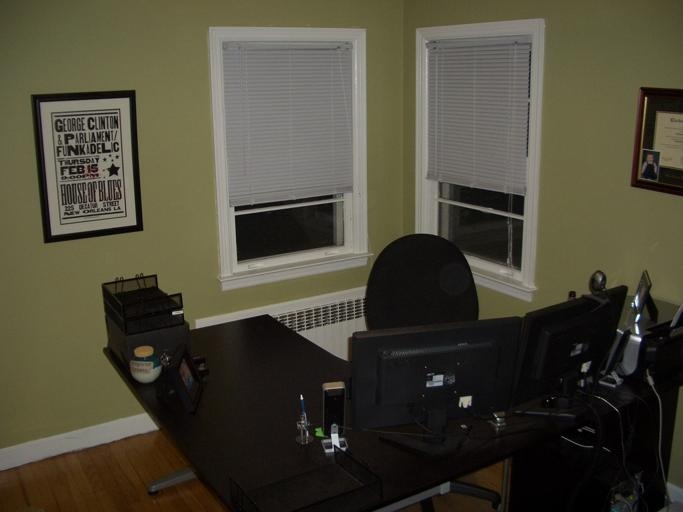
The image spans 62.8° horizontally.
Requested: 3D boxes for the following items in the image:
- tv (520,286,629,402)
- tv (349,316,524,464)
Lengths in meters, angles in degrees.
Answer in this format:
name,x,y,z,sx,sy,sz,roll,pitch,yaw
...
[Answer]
name,x,y,z,sx,sy,sz,roll,pitch,yaw
tv,1.228,0.484,2.884,0.444,0.442,0.168,-15,32,-21
tv,0.460,0.660,2.678,0.593,0.482,0.214,-6,27,-9
